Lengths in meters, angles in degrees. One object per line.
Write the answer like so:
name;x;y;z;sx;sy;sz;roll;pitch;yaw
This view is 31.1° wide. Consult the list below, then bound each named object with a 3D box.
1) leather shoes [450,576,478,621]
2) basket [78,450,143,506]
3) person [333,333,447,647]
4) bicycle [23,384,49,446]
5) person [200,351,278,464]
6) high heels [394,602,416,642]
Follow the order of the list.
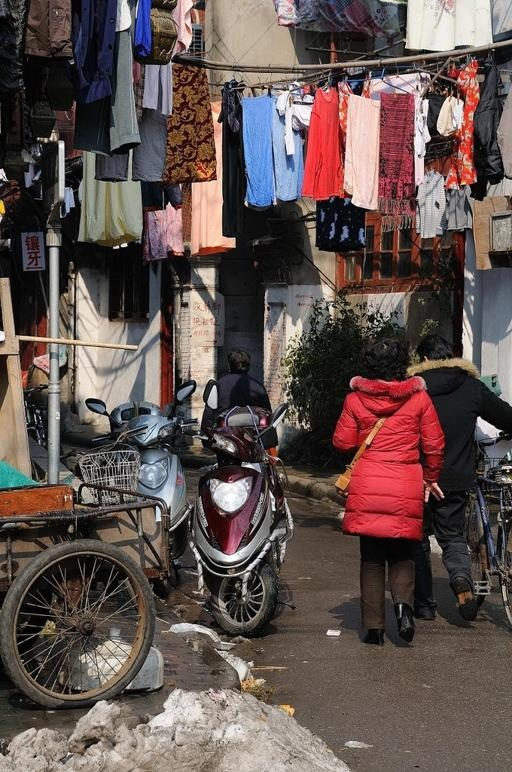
leather shoes;1.181;1.206;5.232;0.106;0.289;0.124;-13;-23;-4
basket;-0.734;0.448;4.721;0.291;0.135;0.227;-5;-15;17
person;0.723;0.617;5.065;0.559;1.722;0.547;3;6;27
bicycle;-3.240;0.334;13.489;0.327;1.003;3.720;-1;6;-14
person;-0.139;0.107;6.796;0.480;0.521;0.855;0;4;-3
high heels;0.796;1.278;4.869;0.079;0.170;0.246;-6;-36;7
